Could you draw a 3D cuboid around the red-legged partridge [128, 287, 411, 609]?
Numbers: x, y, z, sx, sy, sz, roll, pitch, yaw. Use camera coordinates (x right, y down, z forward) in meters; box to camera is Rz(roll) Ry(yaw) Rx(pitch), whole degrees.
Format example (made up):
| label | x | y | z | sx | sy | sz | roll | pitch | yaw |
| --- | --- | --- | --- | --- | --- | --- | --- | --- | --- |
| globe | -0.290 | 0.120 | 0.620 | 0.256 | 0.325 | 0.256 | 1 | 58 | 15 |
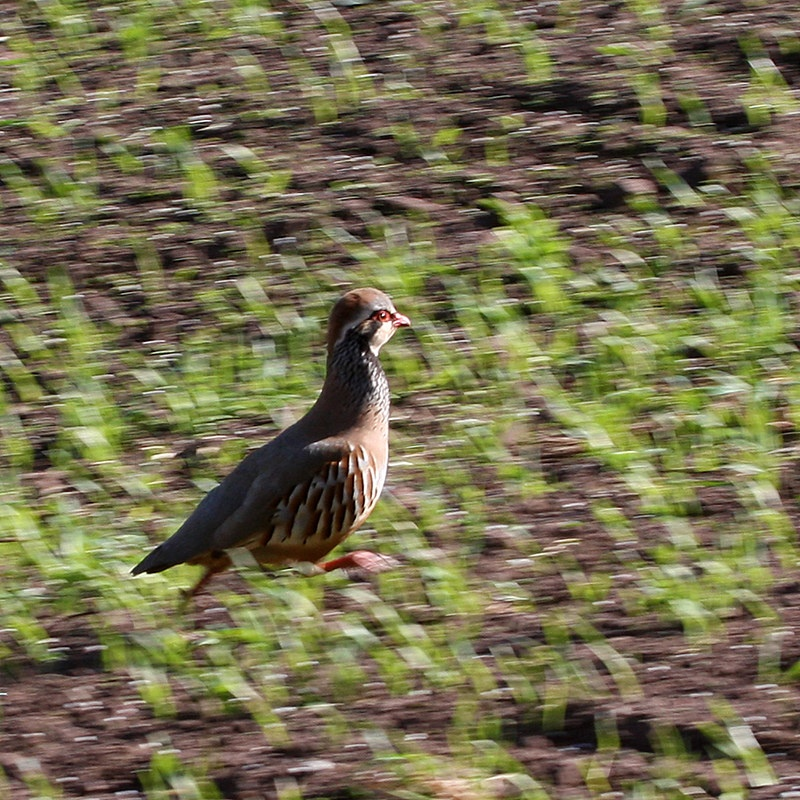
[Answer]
| label | x | y | z | sx | sy | sz | roll | pitch | yaw |
| --- | --- | --- | --- | --- | --- | --- | --- | --- | --- |
| red-legged partridge | -0.230 | 0.149 | 3.316 | 0.647 | 0.936 | 0.728 | 19 | 26 | 5 |
